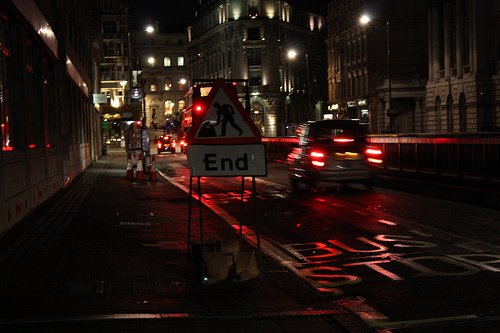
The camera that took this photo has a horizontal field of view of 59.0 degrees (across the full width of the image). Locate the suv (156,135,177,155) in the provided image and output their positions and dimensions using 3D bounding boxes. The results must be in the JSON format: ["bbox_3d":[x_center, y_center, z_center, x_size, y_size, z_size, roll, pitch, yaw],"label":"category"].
[{"bbox_3d":[-11.263,-2.950,59.279,2.238,2.344,2.511,-6,7,-7],"label":"suv"}]
